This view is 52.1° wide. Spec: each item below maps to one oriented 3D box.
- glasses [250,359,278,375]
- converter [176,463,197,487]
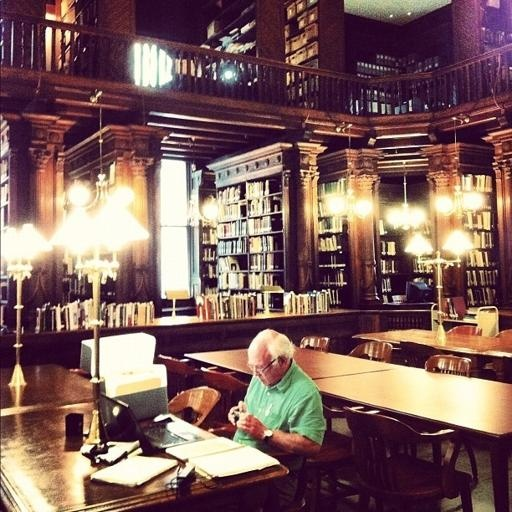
[{"bbox_3d":[0.032,0.507,2.471,0.094,0.031,0.091,-36,5,-33],"label":"glasses"},{"bbox_3d":[-0.228,0.727,1.724,0.017,0.059,0.051,-7,-9,33],"label":"converter"}]
